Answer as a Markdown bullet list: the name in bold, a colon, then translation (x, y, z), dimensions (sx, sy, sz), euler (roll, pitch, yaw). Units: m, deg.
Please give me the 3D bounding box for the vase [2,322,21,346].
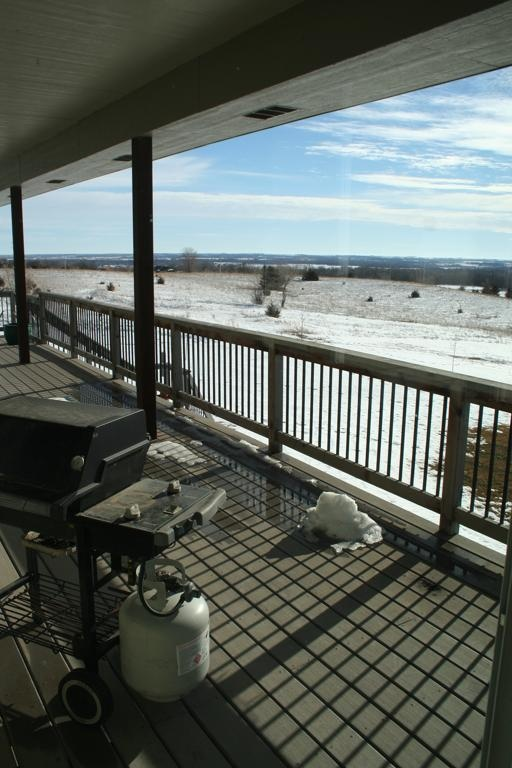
- **vase**: translation (-4.111, -0.828, 9.185), dimensions (0.170, 0.385, 0.473), euler (-5, 11, -30)
